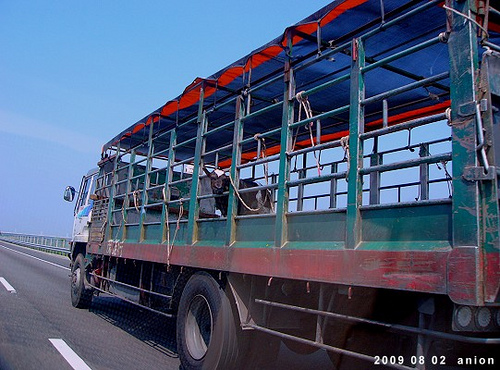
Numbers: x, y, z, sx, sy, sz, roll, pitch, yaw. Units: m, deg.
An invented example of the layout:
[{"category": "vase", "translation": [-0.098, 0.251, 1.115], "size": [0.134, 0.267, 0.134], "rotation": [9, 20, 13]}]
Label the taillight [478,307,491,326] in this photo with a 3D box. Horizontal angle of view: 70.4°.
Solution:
[{"category": "taillight", "translation": [1.616, 0.904, 2.448], "size": [0.127, 0.118, 0.019], "rotation": [9, -12, -27]}]

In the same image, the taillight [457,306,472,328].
[{"category": "taillight", "translation": [1.461, 0.893, 2.419], "size": [0.091, 0.137, 0.020], "rotation": [1, -11, 10]}]

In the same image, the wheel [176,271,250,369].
[{"category": "wheel", "translation": [-0.450, 1.721, 4.507], "size": [0.478, 1.479, 1.402], "rotation": [5, -8, -26]}]

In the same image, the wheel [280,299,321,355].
[{"category": "wheel", "translation": [0.508, 1.400, 3.584], "size": [0.049, 0.689, 0.655], "rotation": [17, -20, -29]}]

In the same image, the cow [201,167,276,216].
[{"category": "cow", "translation": [-0.133, 0.206, 5.359], "size": [0.997, 0.741, 0.297], "rotation": [7, 15, -6]}]

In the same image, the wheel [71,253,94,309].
[{"category": "wheel", "translation": [-4.313, 2.484, 9.125], "size": [0.398, 1.175, 1.120], "rotation": [22, -30, -33]}]
